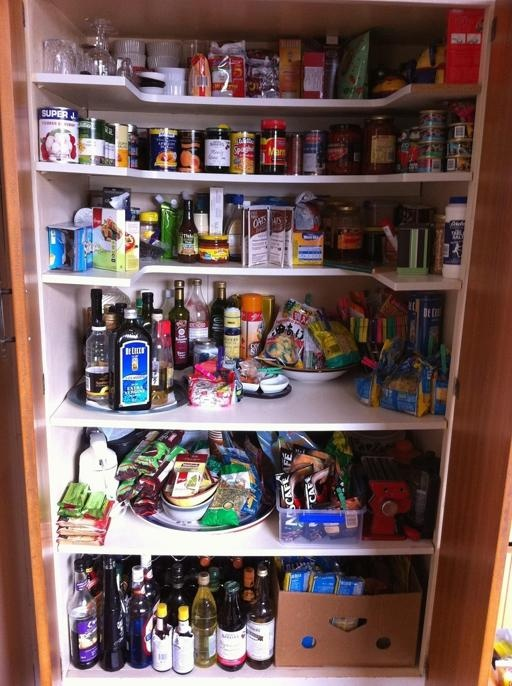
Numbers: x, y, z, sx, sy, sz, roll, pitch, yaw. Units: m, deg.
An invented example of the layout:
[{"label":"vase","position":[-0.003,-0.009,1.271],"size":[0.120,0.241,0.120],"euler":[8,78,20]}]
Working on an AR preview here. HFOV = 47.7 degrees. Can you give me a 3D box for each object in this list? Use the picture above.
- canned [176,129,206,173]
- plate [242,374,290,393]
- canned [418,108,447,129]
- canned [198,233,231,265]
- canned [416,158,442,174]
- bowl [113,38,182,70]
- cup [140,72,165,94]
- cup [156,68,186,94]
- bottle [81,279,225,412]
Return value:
[{"label":"canned","position":[-0.176,-0.521,1.569],"size":[0.107,0.116,0.106],"euler":[-1,13,-2]},{"label":"plate","position":[0.034,0.120,1.648],"size":[0.059,0.022,0.083],"euler":[-10,13,-39]},{"label":"canned","position":[0.409,-0.513,1.333],"size":[0.053,0.032,0.053],"euler":[0,19,1]},{"label":"canned","position":[-0.119,-0.268,1.637],"size":[0.084,0.070,0.083],"euler":[2,17,6]},{"label":"canned","position":[0.398,-0.412,1.336],"size":[0.054,0.034,0.033],"euler":[2,13,18]},{"label":"bowl","position":[-0.298,-0.779,1.579],"size":[0.142,0.049,0.117],"euler":[-2,11,-6]},{"label":"cup","position":[-0.269,-0.668,1.483],"size":[0.059,0.042,0.062],"euler":[3,11,-1]},{"label":"cup","position":[-0.220,-0.690,1.556],"size":[0.072,0.067,0.072],"euler":[-2,7,0]},{"label":"bottle","position":[-0.337,0.006,1.504],"size":[0.236,0.313,0.240],"euler":[-2,13,0]}]
